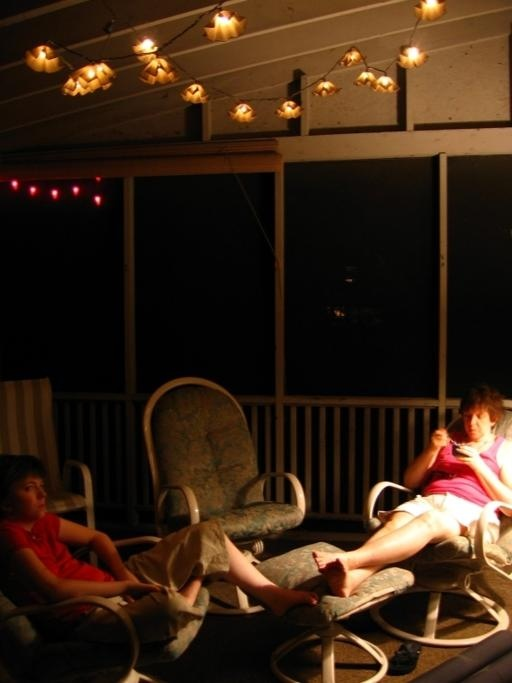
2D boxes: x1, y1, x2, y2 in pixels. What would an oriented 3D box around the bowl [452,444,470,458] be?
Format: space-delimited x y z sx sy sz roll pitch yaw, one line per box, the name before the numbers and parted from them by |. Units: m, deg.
bowl | 0.897 0.485 2.858 0.070 0.068 0.074 1 1 0
